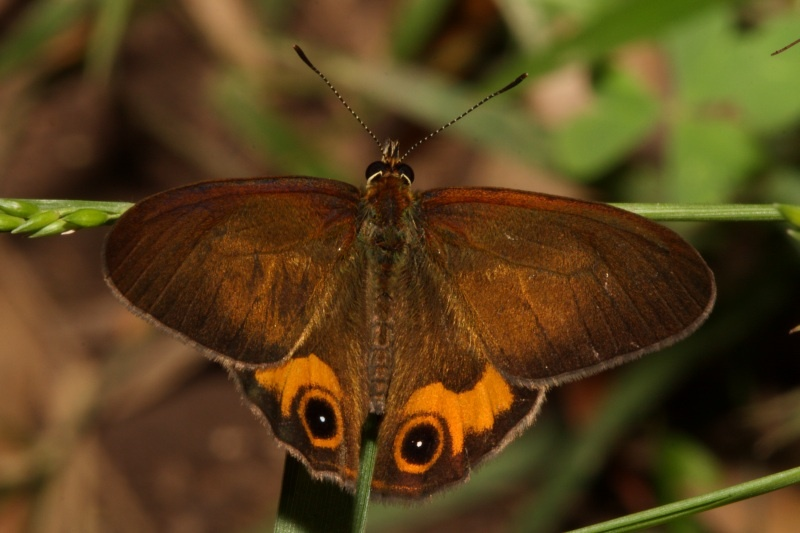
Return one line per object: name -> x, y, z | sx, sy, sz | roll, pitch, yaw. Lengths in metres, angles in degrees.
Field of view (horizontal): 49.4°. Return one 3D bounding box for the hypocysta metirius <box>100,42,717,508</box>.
hypocysta metirius -> 0.013, 0.224, 4.776 | 3.042, 0.789, 1.609 | 4, 70, -3
